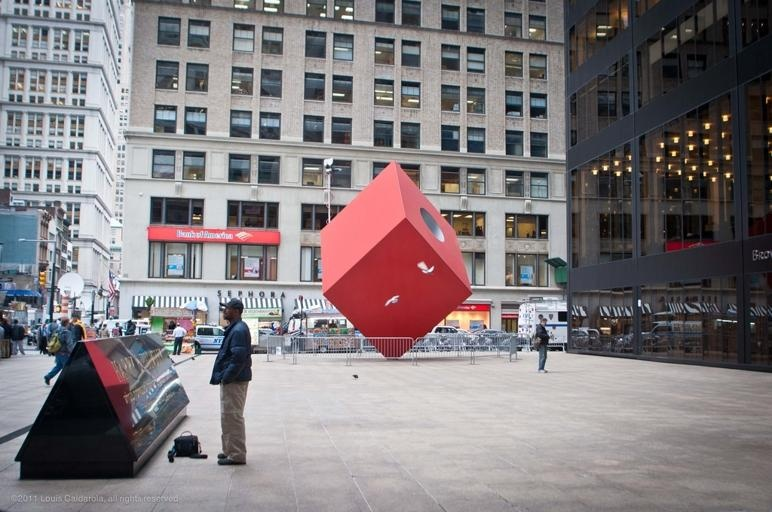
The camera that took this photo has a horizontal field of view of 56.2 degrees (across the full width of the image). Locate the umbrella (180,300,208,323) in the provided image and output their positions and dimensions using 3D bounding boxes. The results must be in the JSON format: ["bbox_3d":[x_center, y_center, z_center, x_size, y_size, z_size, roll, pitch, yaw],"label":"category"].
[{"bbox_3d":[-13.684,3.932,52.140,1.626,1.352,1.668,-2,-14,0],"label":"umbrella"}]

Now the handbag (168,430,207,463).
[{"bbox_3d":[-4.155,4.026,15.165,0.626,0.577,0.608,4,-39,-15],"label":"handbag"}]
